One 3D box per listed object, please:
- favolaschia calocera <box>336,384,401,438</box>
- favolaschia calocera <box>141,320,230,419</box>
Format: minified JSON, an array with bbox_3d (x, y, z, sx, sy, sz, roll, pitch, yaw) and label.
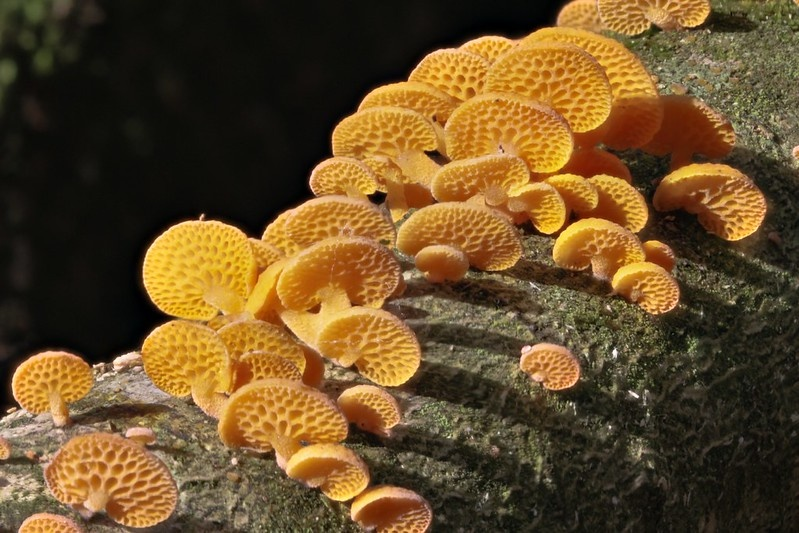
[{"bbox_3d":[-0.178,0.835,8.060,0.298,0.114,0.289,-11,-53,37],"label":"favolaschia calocera"},{"bbox_3d":[-1.172,0.594,8.118,0.490,0.611,0.159,-34,11,30],"label":"favolaschia calocera"}]
